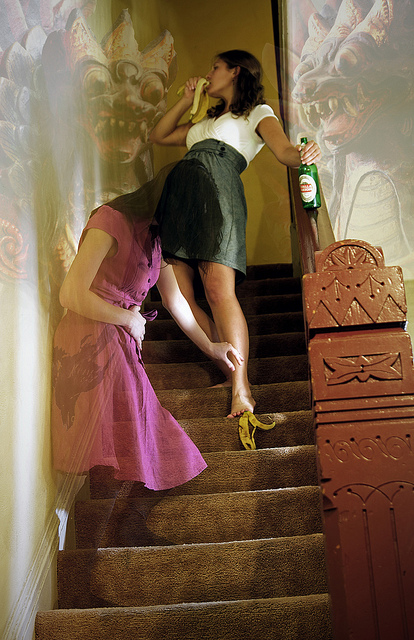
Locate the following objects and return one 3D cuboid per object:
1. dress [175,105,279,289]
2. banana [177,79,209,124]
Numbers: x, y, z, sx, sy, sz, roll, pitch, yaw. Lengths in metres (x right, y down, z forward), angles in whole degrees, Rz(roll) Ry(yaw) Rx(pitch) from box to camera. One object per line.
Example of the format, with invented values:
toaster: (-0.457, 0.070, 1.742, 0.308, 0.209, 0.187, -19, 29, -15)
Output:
dress: (0.080, -0.405, 1.670, 0.447, 0.597, 0.677, -5, 10, 5)
banana: (-0.033, -0.858, 1.891, 0.050, 0.160, 0.125, 12, 5, -40)
